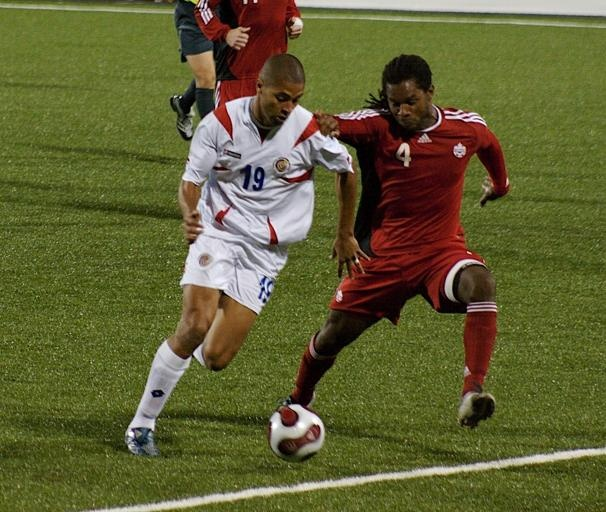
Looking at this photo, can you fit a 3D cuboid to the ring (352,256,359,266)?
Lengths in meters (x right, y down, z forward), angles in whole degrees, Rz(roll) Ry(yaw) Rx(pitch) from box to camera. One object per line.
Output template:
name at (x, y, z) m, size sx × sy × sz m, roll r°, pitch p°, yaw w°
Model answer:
ring at (0.260, 0.024, 4.965) m, size 0.039 × 0.034 × 0.056 m, roll 5°, pitch -12°, yaw 13°

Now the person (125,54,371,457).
person at (-0.240, 0.002, 4.937) m, size 1.009 × 1.932 × 0.500 m, roll 6°, pitch 14°, yaw -14°

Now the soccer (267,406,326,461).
soccer at (-0.024, 0.816, 4.715) m, size 0.255 × 0.247 × 0.241 m, roll 0°, pitch -2°, yaw -3°

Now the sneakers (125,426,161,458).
sneakers at (-0.758, 0.878, 4.866) m, size 0.152 × 0.121 × 0.146 m, roll 4°, pitch 15°, yaw -22°

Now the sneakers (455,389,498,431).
sneakers at (0.759, 0.666, 4.467) m, size 0.105 × 0.107 × 0.193 m, roll 48°, pitch -17°, yaw 4°
